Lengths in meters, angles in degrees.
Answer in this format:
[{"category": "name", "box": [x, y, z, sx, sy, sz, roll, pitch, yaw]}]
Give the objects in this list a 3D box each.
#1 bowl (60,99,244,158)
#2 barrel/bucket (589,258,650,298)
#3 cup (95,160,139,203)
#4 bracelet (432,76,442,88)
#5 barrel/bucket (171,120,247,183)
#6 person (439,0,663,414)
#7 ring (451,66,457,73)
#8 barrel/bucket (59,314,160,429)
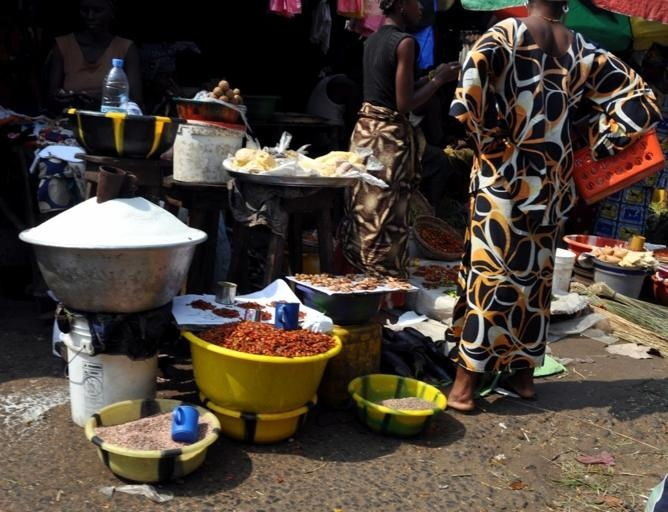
[{"category": "bowl", "box": [-1.320, -0.878, 4.298, 0.914, 0.170, 0.779, 2, 7, 4]}, {"category": "barrel/bucket", "box": [3.072, 0.232, 6.928, 0.564, 0.304, 0.506, 4, 7, -10]}, {"category": "cup", "box": [-1.318, -0.435, 3.805, 0.162, 0.200, 0.189, 11, 22, 12]}, {"category": "bracelet", "box": [0.846, -1.449, 5.215, 0.094, 0.067, 0.026, 0, -9, 44]}, {"category": "barrel/bucket", "box": [-0.964, -0.782, 4.752, 0.606, 0.309, 0.524, 1, 9, -25]}, {"category": "person", "box": [1.289, -0.331, 4.353, 0.959, 2.783, 1.295, 26, 30, 36]}, {"category": "ring", "box": [0.986, -1.543, 5.177, 0.056, 0.037, 0.010, 6, 16, -1]}, {"category": "barrel/bucket", "box": [-1.407, 0.667, 4.032, 0.897, 0.579, 0.731, 1, 11, -11]}]
